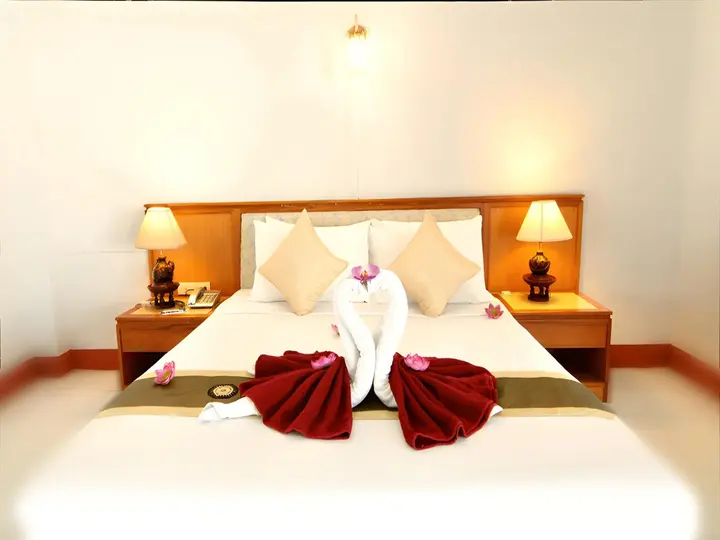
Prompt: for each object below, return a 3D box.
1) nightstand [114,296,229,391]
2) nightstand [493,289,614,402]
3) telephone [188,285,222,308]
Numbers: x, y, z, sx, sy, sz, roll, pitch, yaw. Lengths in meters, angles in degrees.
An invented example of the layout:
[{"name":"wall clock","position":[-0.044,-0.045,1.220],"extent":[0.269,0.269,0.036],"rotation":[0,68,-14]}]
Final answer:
[{"name":"nightstand","position":[-1.184,0.383,3.527],"extent":[0.721,0.710,0.517],"rotation":[-1,9,-1]},{"name":"nightstand","position":[1.282,0.367,3.542],"extent":[0.783,0.768,0.621],"rotation":[0,9,4]},{"name":"telephone","position":[-1.026,0.165,3.509],"extent":[0.121,0.069,0.183],"rotation":[-1,11,1]}]
